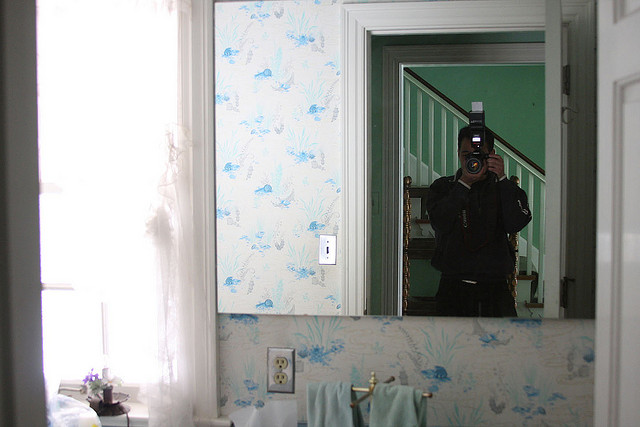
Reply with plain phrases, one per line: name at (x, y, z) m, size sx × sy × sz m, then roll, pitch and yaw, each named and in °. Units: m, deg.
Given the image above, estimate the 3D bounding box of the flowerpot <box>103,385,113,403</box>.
flowerpot at (-0.833, 0.708, 2.312) m, size 0.047 × 0.077 × 0.047 m, roll 0°, pitch 4°, yaw -25°

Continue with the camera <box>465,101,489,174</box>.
camera at (0.589, -0.292, 2.239) m, size 0.086 × 0.269 × 0.049 m, roll -4°, pitch -6°, yaw 14°

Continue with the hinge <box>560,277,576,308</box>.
hinge at (0.936, 0.297, 2.238) m, size 0.059 × 0.113 × 0.018 m, roll -2°, pitch -6°, yaw -4°
